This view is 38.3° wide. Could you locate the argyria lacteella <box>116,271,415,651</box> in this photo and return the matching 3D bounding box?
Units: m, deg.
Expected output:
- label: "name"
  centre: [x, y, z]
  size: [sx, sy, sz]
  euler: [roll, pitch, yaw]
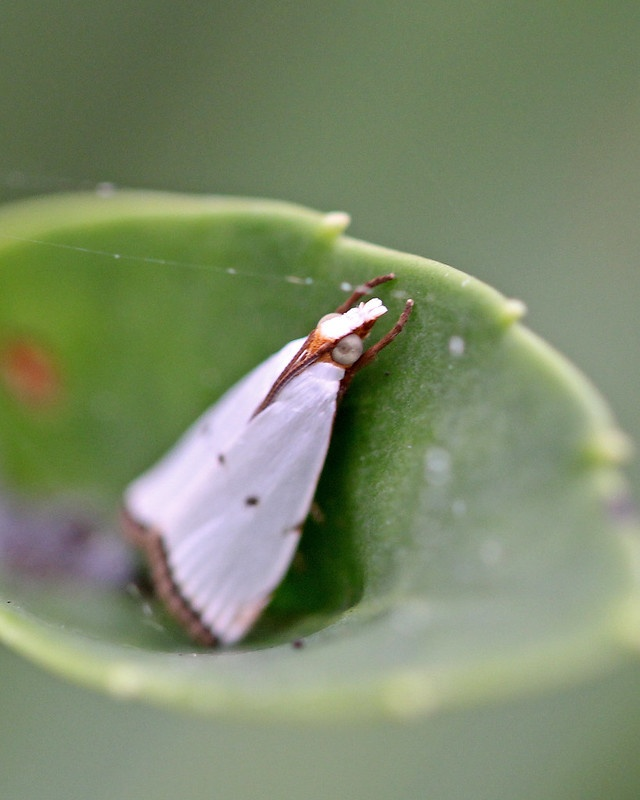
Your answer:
- label: "argyria lacteella"
  centre: [-0.062, 0.081, 1.174]
  size: [0.537, 0.137, 0.305]
  euler: [-49, 67, 17]
